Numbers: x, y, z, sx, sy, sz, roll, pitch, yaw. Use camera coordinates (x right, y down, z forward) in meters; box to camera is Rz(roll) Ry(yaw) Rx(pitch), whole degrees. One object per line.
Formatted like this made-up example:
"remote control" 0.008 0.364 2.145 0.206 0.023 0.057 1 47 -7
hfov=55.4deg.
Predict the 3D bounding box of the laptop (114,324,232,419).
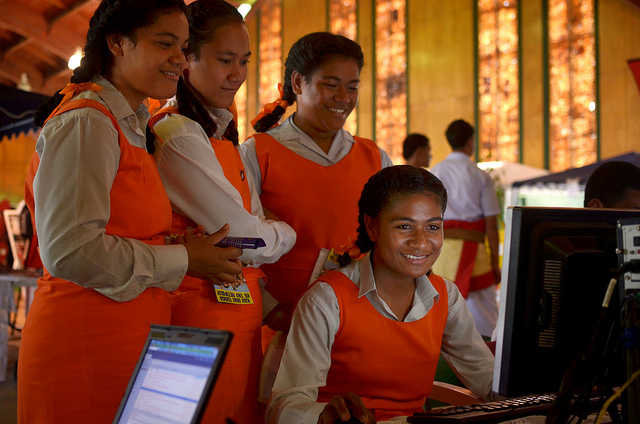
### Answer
"laptop" -0.411 0.460 1.692 0.349 0.279 0.073 0 -7 35

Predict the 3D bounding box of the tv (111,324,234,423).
"tv" -0.363 0.483 1.797 0.356 0.254 0.288 11 -12 28

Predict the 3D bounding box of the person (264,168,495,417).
"person" 0.202 0.312 2.352 0.818 0.971 0.628 9 -7 -44

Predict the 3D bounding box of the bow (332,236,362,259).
"bow" 0.112 0.149 2.562 0.083 0.087 0.089 23 9 -3

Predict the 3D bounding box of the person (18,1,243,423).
"person" -0.685 -0.021 2.133 0.627 1.501 0.334 7 -6 -28

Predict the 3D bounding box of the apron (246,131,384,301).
"apron" -0.042 0.041 2.582 0.713 0.777 0.415 4 -8 -29

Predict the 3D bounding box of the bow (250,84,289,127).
"bow" -0.253 -0.512 2.922 0.092 0.193 0.176 -5 10 -36
